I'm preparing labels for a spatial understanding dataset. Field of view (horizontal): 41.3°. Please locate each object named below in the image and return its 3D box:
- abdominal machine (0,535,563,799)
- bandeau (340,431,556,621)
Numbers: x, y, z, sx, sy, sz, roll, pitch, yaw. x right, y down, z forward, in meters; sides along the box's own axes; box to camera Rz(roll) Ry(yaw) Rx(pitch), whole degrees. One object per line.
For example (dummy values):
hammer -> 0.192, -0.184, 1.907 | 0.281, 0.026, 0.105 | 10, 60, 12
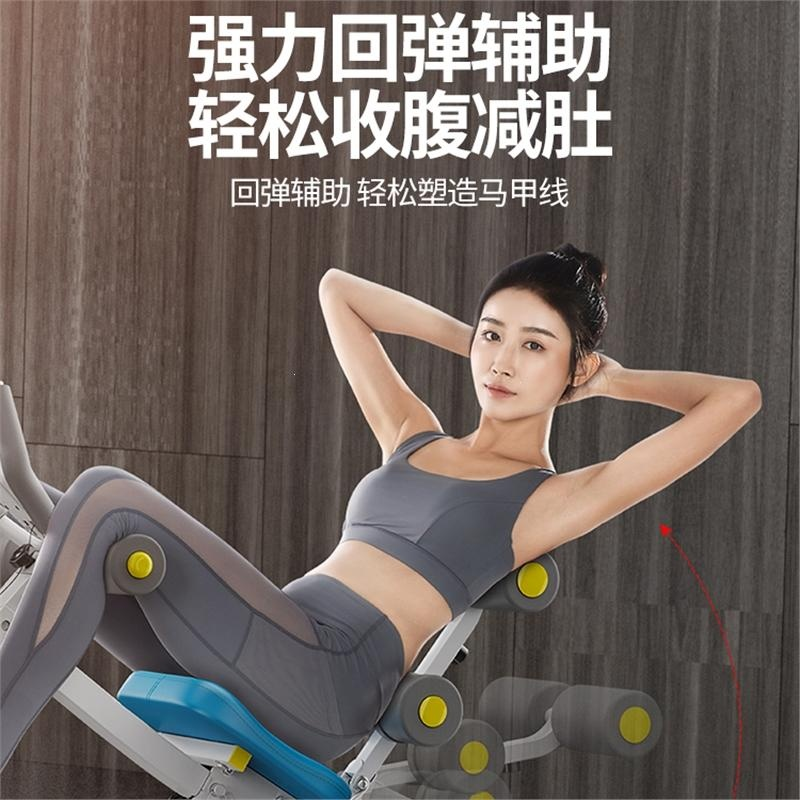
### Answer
abdominal machine -> -0.108, 0.593, 2.055 | 1.015, 0.571, 0.370 | 1, 3, -41
bandeau -> 0.109, 0.264, 2.183 | 0.295, 0.274, 0.169 | 24, -25, 34
